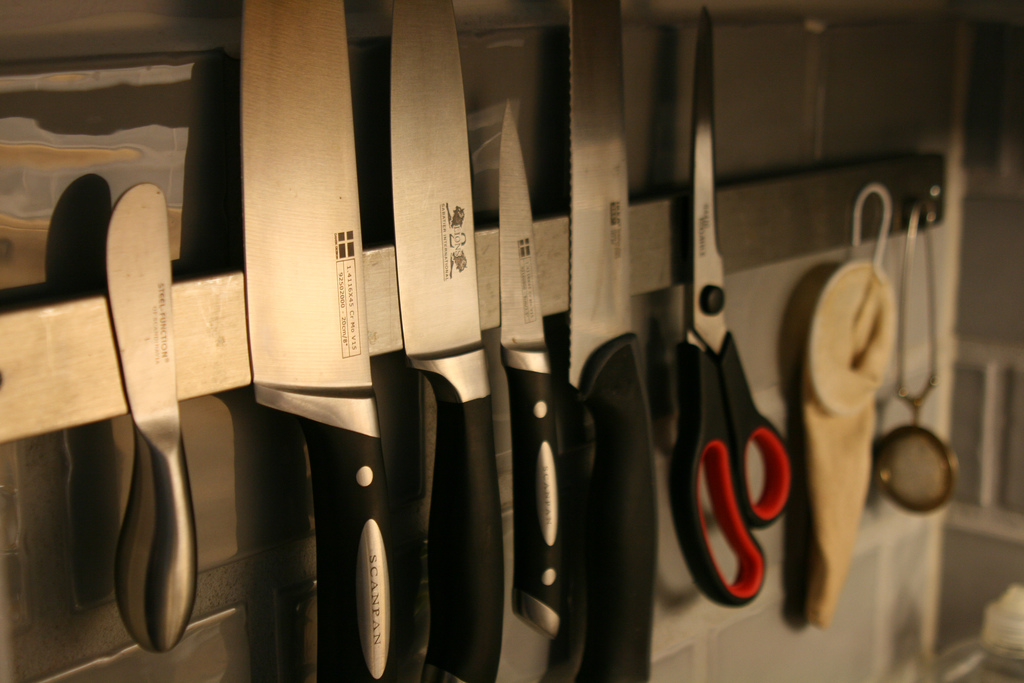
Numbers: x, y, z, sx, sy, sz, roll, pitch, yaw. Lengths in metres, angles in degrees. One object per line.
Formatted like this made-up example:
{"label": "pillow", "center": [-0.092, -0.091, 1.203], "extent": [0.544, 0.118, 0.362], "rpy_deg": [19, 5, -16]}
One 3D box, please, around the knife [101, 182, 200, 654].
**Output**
{"label": "knife", "center": [-0.266, 0.058, 0.707], "extent": [0.056, 0.340, 0.046], "rpy_deg": [-6, 9, -25]}

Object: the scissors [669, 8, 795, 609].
{"label": "scissors", "center": [0.228, -0.030, 1.003], "extent": [0.139, 0.599, 0.072], "rpy_deg": [-7, 10, -30]}

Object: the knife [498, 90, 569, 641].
{"label": "knife", "center": [0.014, 0.029, 0.873], "extent": [0.046, 0.458, 0.086], "rpy_deg": [-2, 9, -3]}
